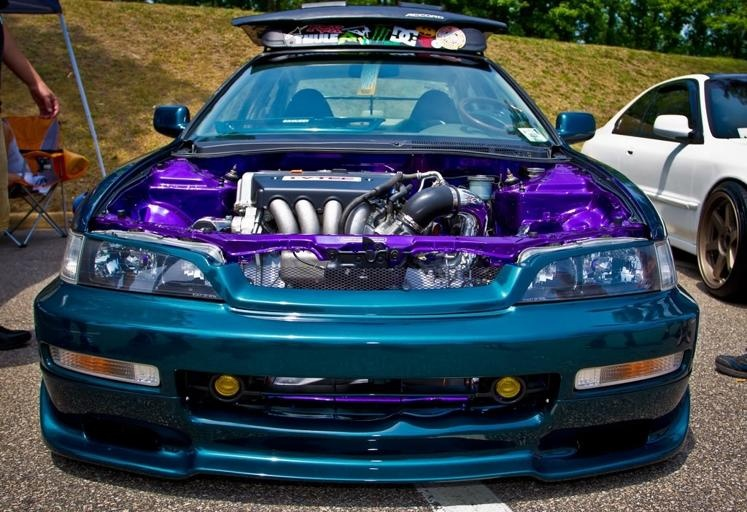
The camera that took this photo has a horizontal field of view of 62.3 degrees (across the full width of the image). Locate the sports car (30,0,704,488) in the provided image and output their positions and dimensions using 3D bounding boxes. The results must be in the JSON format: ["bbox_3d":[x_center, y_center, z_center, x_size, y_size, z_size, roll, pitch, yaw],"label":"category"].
[{"bbox_3d":[-0.010,-0.337,4.168,2.798,1.393,3.788,1,11,2],"label":"sports car"}]
